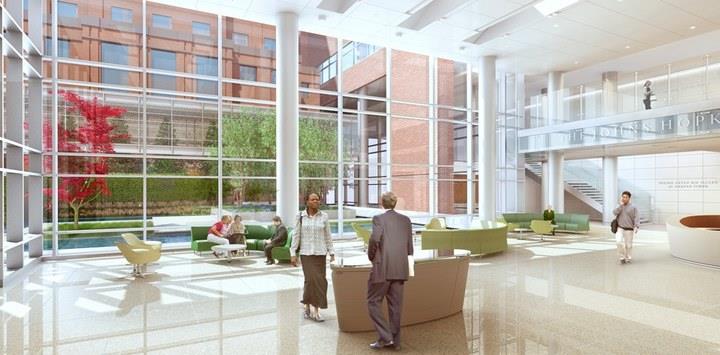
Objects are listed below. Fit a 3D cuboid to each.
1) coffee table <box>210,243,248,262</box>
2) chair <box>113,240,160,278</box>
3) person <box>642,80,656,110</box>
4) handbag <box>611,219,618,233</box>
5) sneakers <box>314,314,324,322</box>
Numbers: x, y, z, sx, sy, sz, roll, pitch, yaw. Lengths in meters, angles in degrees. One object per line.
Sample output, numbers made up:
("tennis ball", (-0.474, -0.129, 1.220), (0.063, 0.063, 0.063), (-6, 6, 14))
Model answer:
("coffee table", (-5.949, 3.487, 19.333), (1.201, 0.440, 1.066), (1, 2, 13))
("chair", (-9.429, 3.536, 18.121), (1.695, 1.089, 1.387), (-8, -9, 23))
("person", (15.779, -4.595, 23.304), (0.540, 1.686, 0.415), (-5, -2, 42))
("handbag", (11.370, 2.148, 18.992), (0.252, 0.644, 0.408), (-4, -2, 28))
("sneakers", (-1.420, 4.942, 14.964), (0.388, 0.191, 0.211), (-2, -2, -7))
